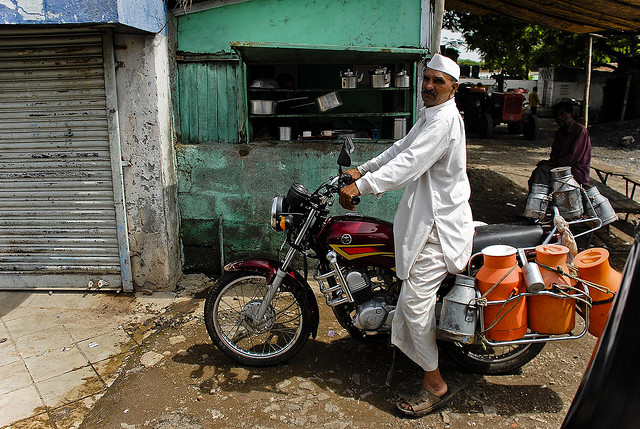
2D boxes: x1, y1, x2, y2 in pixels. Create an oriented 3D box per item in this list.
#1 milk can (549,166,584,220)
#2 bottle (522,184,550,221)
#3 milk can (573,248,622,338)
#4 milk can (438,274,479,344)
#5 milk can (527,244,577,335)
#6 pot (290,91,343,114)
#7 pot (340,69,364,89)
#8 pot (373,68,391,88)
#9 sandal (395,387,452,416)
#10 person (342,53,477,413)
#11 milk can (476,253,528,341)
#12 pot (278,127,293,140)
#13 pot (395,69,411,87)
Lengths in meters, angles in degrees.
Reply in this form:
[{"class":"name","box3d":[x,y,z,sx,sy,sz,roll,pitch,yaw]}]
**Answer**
[{"class":"milk can","box3d":[2.771,-0.232,5.519,0.342,0.547,0.339,-12,9,2]},{"class":"bottle","box3d":[2.394,-0.135,5.346,0.237,0.363,0.234,9,6,-1]},{"class":"milk can","box3d":[2.370,0.675,4.193,0.356,0.723,0.432,3,14,21]},{"class":"milk can","box3d":[1.218,0.806,4.239,0.332,0.547,0.392,7,3,-25]},{"class":"milk can","box3d":[1.916,0.662,4.265,0.451,0.732,0.456,-3,12,1]},{"class":"pot","box3d":[0.069,-1.408,6.166,0.372,0.129,0.214,-15,1,28]},{"class":"pot","box3d":[0.408,-1.749,6.324,0.291,0.247,0.204,-1,6,-7]},{"class":"pot","box3d":[0.768,-1.708,6.104,0.220,0.220,0.232,0,11,0]},{"class":"sandal","box3d":[0.936,1.603,4.229,0.492,0.171,0.202,-14,6,-12]},{"class":"person","box3d":[0.862,0.161,4.200,0.684,2.938,0.916,8,17,38]},{"class":"milk can","box3d":[1.553,0.702,4.149,0.433,0.725,0.233,2,14,17]},{"class":"pot","box3d":[-0.453,-1.034,6.290,0.153,0.131,0.151,0,10,0]},{"class":"pot","box3d":[1.027,-1.690,6.120,0.222,0.220,0.204,-1,11,0]}]
